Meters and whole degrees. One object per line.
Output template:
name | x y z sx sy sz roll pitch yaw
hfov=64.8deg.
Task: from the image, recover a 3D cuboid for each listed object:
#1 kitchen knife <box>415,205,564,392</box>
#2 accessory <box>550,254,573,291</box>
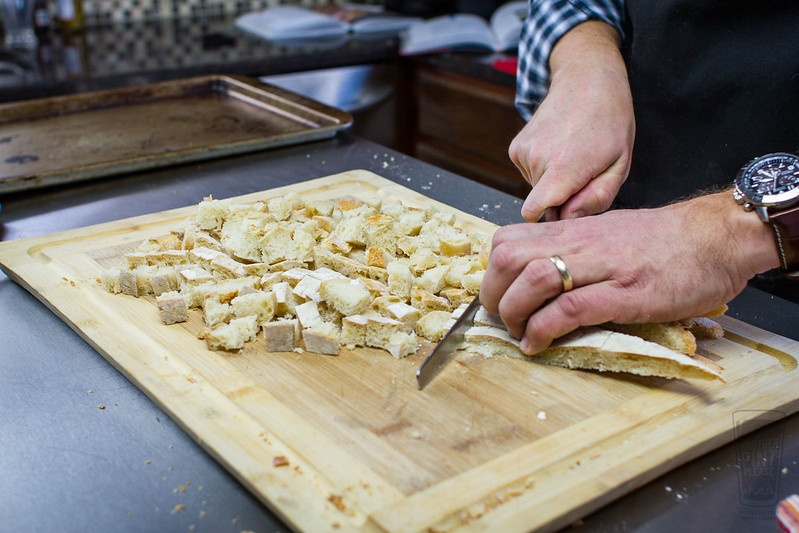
kitchen knife | 0.239 0.106 1.721 0.026 0.074 0.604 17 53 39
accessory | 0.400 0.019 1.555 0.018 0.067 0.059 -21 65 7
